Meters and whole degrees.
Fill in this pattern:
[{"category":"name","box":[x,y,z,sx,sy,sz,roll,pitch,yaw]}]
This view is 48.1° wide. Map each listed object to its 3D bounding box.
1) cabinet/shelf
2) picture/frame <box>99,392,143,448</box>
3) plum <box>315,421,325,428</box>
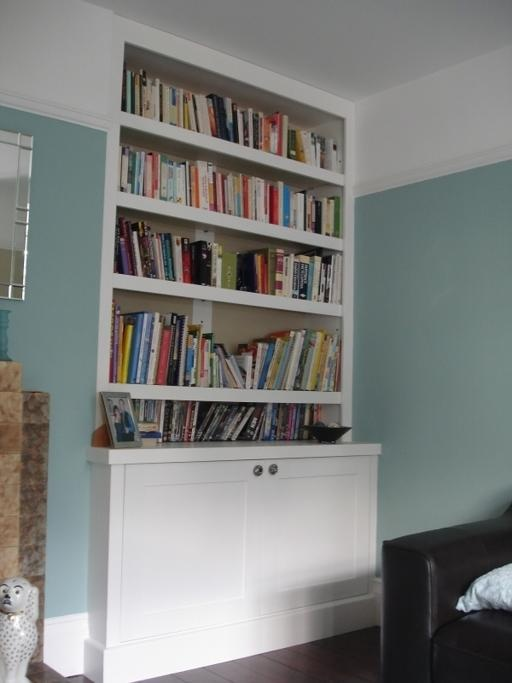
[{"category":"cabinet/shelf","box":[-0.093,-0.012,2.682,1.465,2.724,0.565,4,-6,-38]},{"category":"picture/frame","box":[-0.532,0.305,2.230,0.021,0.156,0.213,-23,0,22]},{"category":"plum","box":[0.319,0.407,2.841,0.027,0.025,0.025,2,-3,-41]}]
